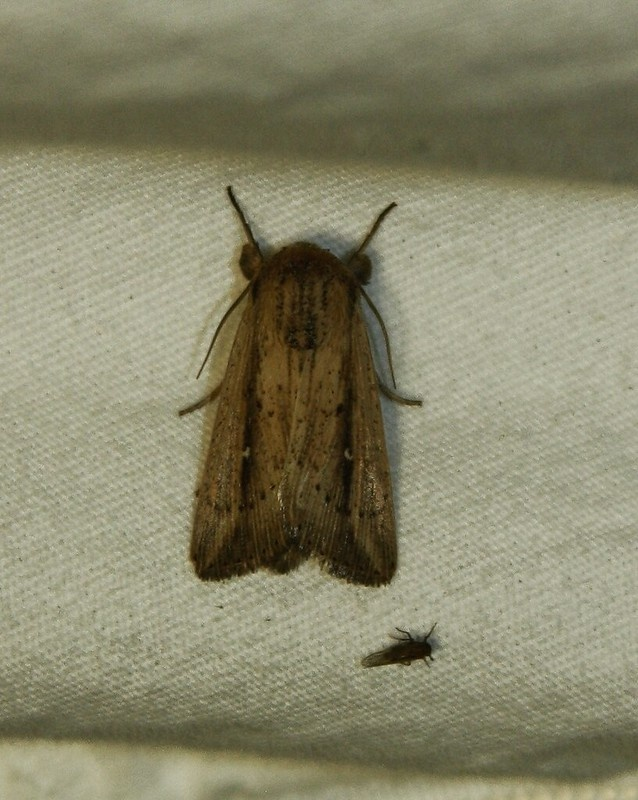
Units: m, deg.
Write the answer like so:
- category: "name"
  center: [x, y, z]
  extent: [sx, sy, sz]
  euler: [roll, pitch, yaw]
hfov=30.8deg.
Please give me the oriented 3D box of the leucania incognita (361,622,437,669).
- category: "leucania incognita"
  center: [0.147, 0.449, 2.102]
  extent: [0.106, 0.071, 0.031]
  euler: [-12, 3, -2]
